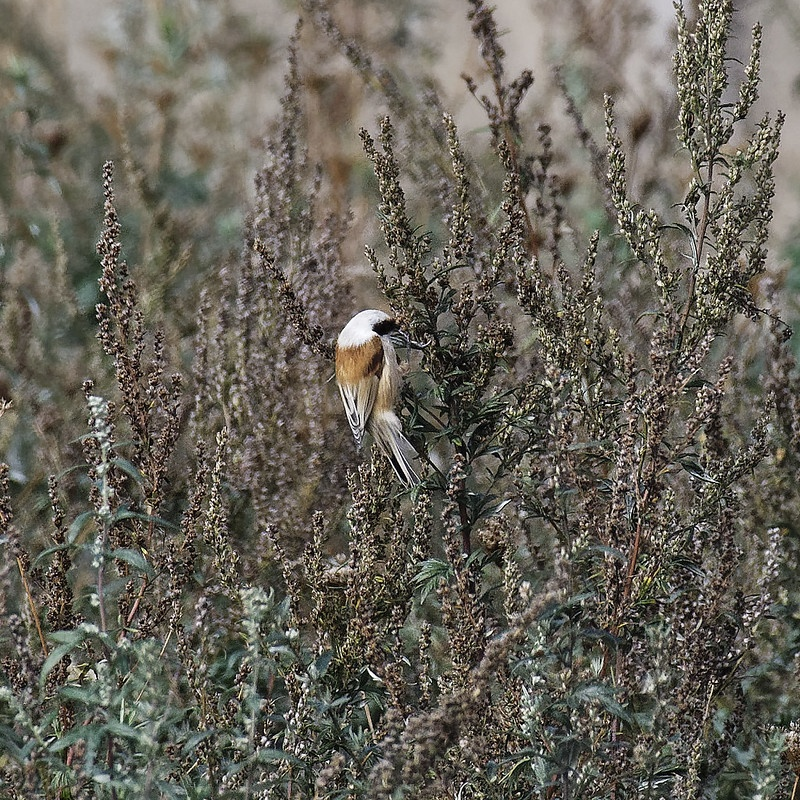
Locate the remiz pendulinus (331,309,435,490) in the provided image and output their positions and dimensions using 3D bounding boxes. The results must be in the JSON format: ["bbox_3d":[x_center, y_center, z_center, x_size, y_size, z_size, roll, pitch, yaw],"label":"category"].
[{"bbox_3d":[-0.063,0.031,4.378,0.179,0.142,0.533,13,66,3],"label":"remiz pendulinus"}]
